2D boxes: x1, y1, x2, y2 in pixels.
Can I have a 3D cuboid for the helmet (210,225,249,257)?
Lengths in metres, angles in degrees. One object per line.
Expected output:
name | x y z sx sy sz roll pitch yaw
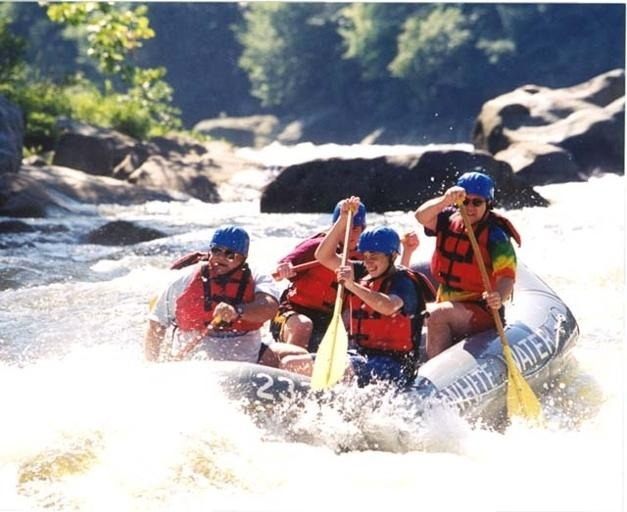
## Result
helmet | -0.638 -0.101 6.428 0.229 0.190 0.247 15 -4 10

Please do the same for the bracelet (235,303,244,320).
bracelet | -0.555 0.409 6.285 0.091 0.093 0.075 3 74 7

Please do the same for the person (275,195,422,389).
person | 0.446 0.246 6.360 0.853 1.041 1.045 -1 30 0

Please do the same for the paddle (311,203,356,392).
paddle | 0.184 0.312 5.971 0.252 1.694 0.067 -1 35 -10
